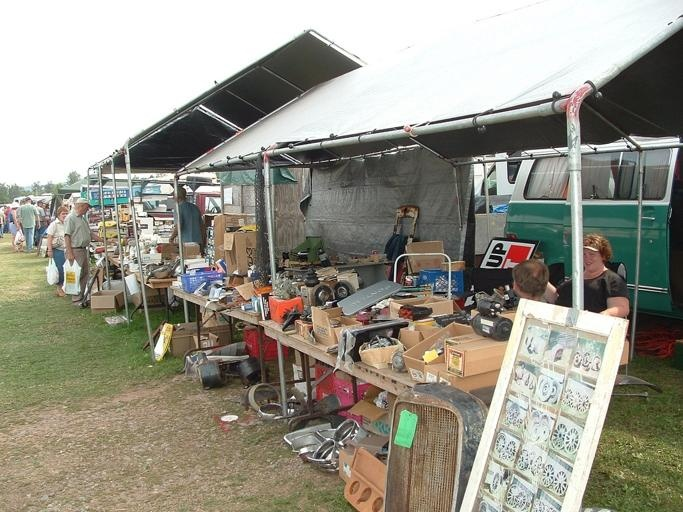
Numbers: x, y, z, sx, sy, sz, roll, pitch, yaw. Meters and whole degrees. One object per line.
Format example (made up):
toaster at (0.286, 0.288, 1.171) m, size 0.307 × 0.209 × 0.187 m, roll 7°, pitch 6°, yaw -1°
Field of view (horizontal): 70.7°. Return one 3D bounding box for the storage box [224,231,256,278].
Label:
storage box at (-1.208, -0.036, 5.769) m, size 0.386 × 0.499 × 0.332 m, roll -6°, pitch 11°, yaw -12°

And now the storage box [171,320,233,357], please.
storage box at (-1.872, 1.072, 6.387) m, size 0.588 × 0.316 × 0.563 m, roll -3°, pitch 5°, yaw -30°

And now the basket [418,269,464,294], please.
basket at (1.272, 0.308, 6.021) m, size 0.422 × 0.230 × 0.401 m, roll 1°, pitch -2°, yaw -12°

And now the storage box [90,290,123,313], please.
storage box at (-4.299, 0.838, 8.868) m, size 0.485 × 0.266 × 0.466 m, roll -1°, pitch 7°, yaw 0°

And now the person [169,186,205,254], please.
person at (-2.635, -0.544, 8.233) m, size 0.551 × 1.305 × 2.041 m, roll -7°, pitch 11°, yaw -16°

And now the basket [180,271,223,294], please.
basket at (-1.719, 0.307, 5.907) m, size 0.428 × 0.163 × 0.264 m, roll -5°, pitch 5°, yaw -28°

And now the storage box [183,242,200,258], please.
storage box at (-2.459, -0.093, 7.866) m, size 0.270 × 0.238 × 0.266 m, roll 0°, pitch -1°, yaw -39°
